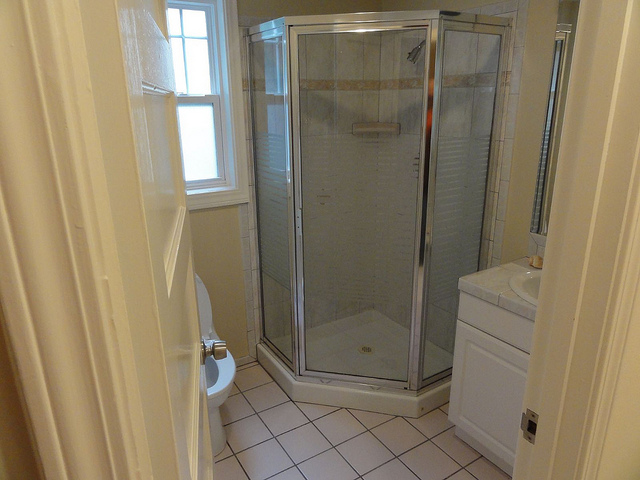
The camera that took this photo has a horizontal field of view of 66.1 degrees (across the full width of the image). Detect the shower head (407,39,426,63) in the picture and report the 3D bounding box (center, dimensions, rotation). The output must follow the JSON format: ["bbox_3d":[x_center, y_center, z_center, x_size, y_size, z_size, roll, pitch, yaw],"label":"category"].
[{"bbox_3d":[0.407,-0.804,2.105,0.031,0.101,0.157,-6,25,-9],"label":"shower head"}]
